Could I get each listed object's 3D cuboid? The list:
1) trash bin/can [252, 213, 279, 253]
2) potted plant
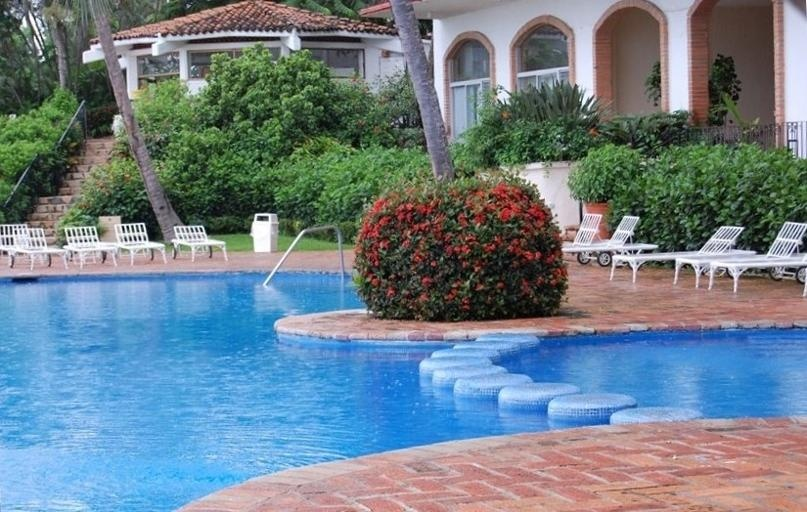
[{"bbox_3d":[-4.085,-0.676,27.858,0.696,1.089,1.008,-2,6,-12],"label":"trash bin/can"},{"bbox_3d":[5.537,-1.490,23.794,2.462,2.311,2.072,0,5,-9],"label":"potted plant"}]
